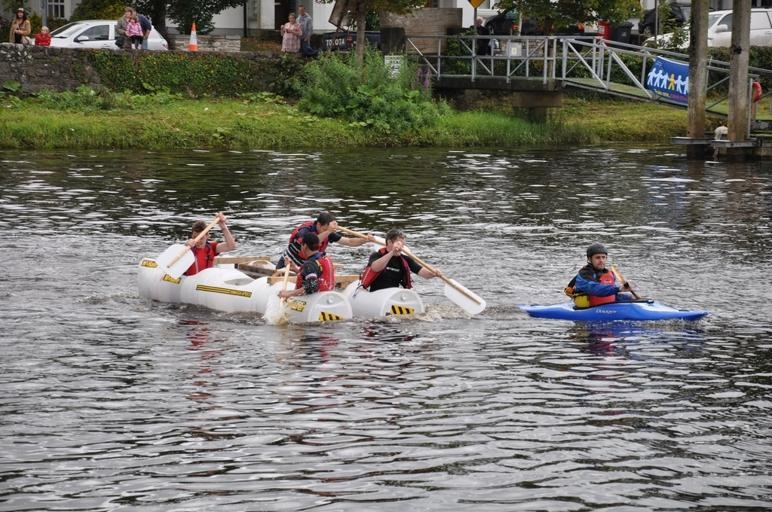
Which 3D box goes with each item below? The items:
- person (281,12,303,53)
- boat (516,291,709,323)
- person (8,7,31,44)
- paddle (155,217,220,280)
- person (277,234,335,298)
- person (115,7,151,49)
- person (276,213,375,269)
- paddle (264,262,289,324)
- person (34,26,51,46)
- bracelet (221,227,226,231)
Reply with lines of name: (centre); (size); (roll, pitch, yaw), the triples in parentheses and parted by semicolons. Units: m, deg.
person: (-3.115, -7.398, 40.657); (0.615, 1.208, 0.474); (-1, 10, -5)
boat: (3.160, 0.869, 18.071); (3.196, 0.289, 0.749); (-1, -1, 16)
person: (-11.213, -7.060, 37.585); (0.583, 1.179, 1.928); (-3, 8, -15)
paddle: (-2.976, -0.125, 18.960); (0.409, 1.525, 0.086); (49, -17, 11)
person: (-1.101, 0.161, 17.928); (0.615, 0.936, 0.667); (4, 10, 23)
person: (-8.018, -7.147, 38.545); (0.880, 1.254, 1.287); (1, 9, 9)
person: (-0.988, -0.207, 20.335); (0.988, 0.936, 0.515); (29, 44, -2)
paddle: (-1.534, 0.668, 18.100); (0.290, 0.204, 0.914); (13, 33, 5)
person: (-10.503, -6.711, 37.551); (0.484, 0.680, 1.956); (-3, 7, -15)
bracelet: (-2.516, -0.421, 19.026); (0.079, 0.041, 0.066); (1, 0, 1)
